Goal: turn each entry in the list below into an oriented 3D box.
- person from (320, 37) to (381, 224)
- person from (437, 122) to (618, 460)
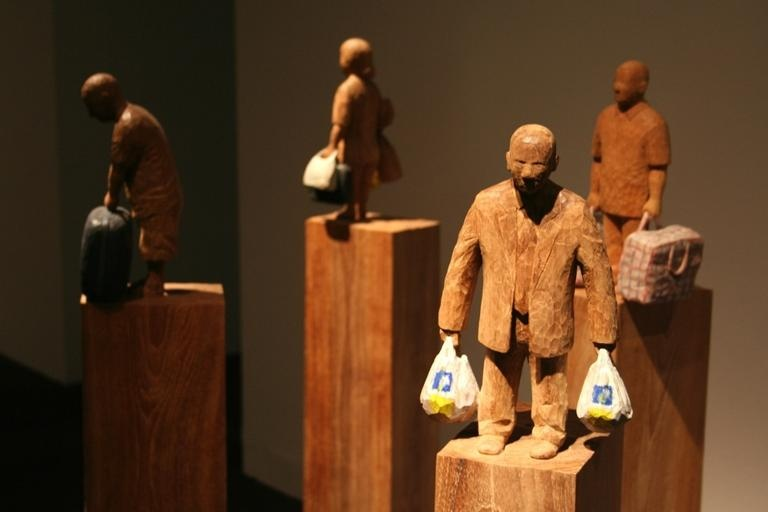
[{"bbox_3d":[-0.148,-0.675,6.231,0.198,0.967,0.366,6,5,43],"label":"person"},{"bbox_3d":[0.687,0.185,5.578,0.792,1.711,0.481,2,21,9],"label":"person"}]
